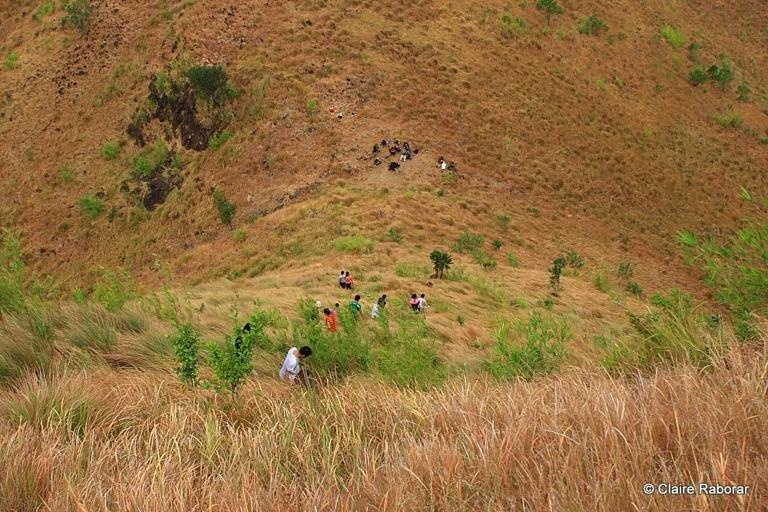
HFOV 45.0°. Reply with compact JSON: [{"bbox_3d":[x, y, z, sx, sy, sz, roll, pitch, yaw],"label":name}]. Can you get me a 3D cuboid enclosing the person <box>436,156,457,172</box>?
[{"bbox_3d":[4.501,-6.366,66.117,1.083,0.446,1.160,9,31,-40],"label":"person"}]
